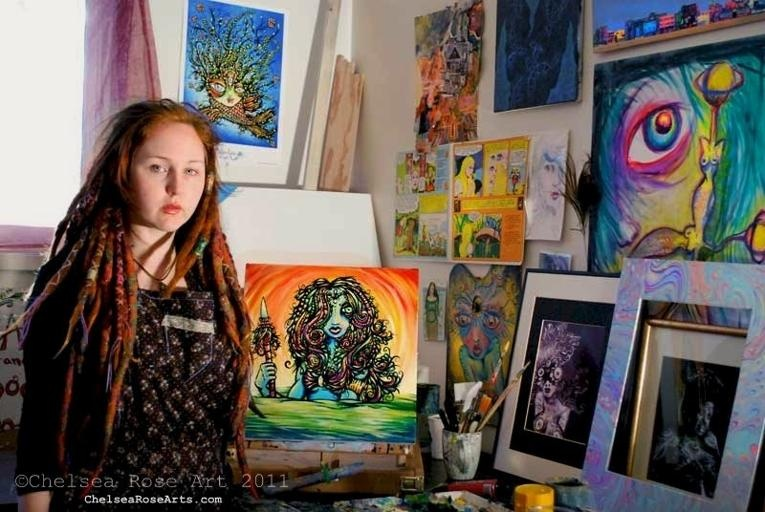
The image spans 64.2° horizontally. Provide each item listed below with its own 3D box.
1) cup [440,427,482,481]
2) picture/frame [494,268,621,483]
[{"bbox_3d":[0.231,0.585,1.823,0.131,0.153,0.132,1,7,0],"label":"cup"},{"bbox_3d":[0.491,0.343,1.742,0.296,0.550,0.111,4,2,39],"label":"picture/frame"}]
